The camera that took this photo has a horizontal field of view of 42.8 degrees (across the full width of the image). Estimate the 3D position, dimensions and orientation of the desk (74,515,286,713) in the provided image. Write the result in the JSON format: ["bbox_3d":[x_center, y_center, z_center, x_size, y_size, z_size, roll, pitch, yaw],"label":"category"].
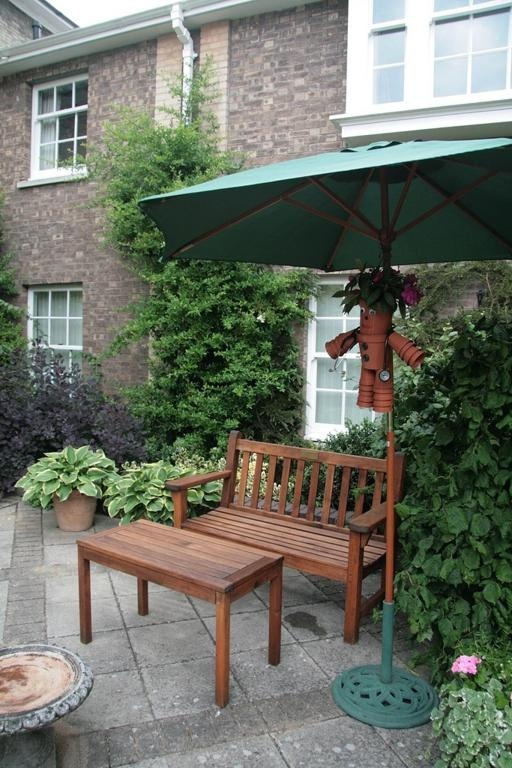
[{"bbox_3d":[-0.407,1.088,3.294,0.982,0.542,0.527,6,7,36],"label":"desk"}]

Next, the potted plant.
[{"bbox_3d":[-1.543,0.858,5.319,0.779,0.681,0.562,0,5,-12],"label":"potted plant"}]

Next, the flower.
[{"bbox_3d":[0.510,-0.398,2.794,0.346,0.225,0.305,1,5,3],"label":"flower"}]

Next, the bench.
[{"bbox_3d":[0.165,0.857,3.967,1.454,0.834,0.600,4,9,44],"label":"bench"}]
